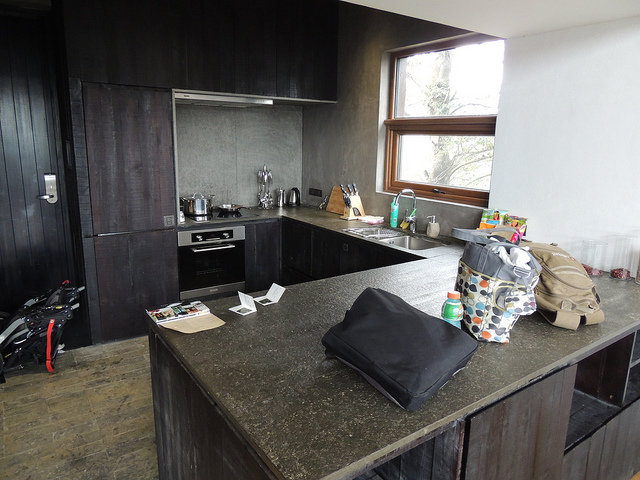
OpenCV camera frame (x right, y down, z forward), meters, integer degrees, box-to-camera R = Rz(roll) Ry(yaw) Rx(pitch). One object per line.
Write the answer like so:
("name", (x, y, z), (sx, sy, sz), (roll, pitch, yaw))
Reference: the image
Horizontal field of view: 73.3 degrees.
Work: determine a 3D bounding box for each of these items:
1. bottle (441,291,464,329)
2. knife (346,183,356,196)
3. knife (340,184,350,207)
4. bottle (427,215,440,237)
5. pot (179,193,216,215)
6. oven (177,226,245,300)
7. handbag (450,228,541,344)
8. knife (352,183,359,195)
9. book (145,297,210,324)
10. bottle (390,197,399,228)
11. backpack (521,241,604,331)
("bottle", (0.592, 0.321, 1.928), (0.101, 0.183, 0.103), (2, 8, 0))
("knife", (0.324, -0.526, 4.488), (0.053, 0.151, 0.037), (-20, -2, 38))
("knife", (0.253, -0.452, 4.394), (0.039, 0.045, 0.257), (1, 59, -13))
("bottle", (0.985, -0.123, 3.723), (0.101, 0.163, 0.171), (3, 15, 14))
("pot", (-1.249, -0.349, 4.430), (0.259, 0.155, 0.244), (0, 7, 0))
("oven", (-1.034, 0.268, 4.465), (0.763, 0.767, 0.562), (-3, 9, -30))
("handbag", (0.771, 0.185, 2.030), (0.340, 0.480, 0.494), (8, 15, 1))
("knife", (0.371, -0.532, 4.502), (0.059, 0.105, 0.152), (0, 14, 2))
("book", (-0.701, 0.351, 2.155), (0.277, 0.027, 0.216), (-8, 16, -26))
("bottle", (0.690, -0.247, 3.992), (0.068, 0.257, 0.081), (4, 15, 18))
("backpack", (1.154, 0.267, 2.181), (0.300, 0.152, 0.422), (3, 45, -23))
